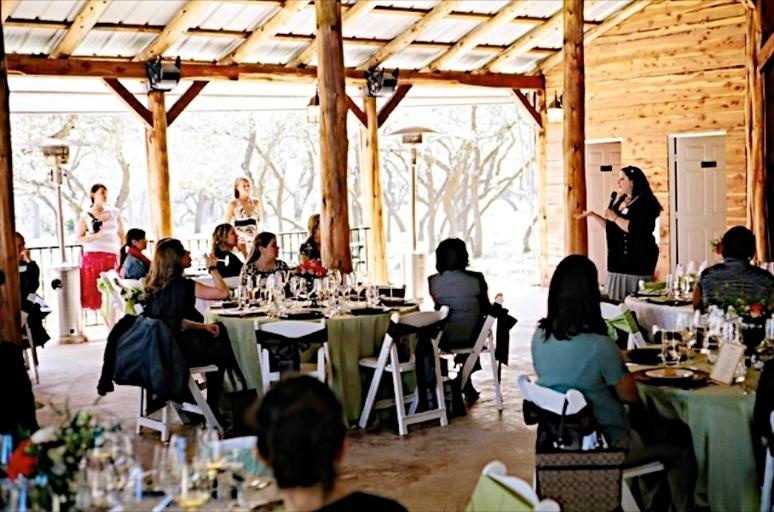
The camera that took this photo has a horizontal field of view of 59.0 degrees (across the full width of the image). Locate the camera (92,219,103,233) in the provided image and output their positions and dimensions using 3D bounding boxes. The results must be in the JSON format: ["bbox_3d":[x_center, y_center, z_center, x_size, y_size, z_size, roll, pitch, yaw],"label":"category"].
[{"bbox_3d":[-3.908,-0.415,9.162,0.114,0.164,0.057,1,9,-24],"label":"camera"}]

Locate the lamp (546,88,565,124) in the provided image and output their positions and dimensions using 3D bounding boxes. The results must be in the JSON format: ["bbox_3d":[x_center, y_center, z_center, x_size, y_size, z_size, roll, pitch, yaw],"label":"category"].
[{"bbox_3d":[3.013,-2.754,12.321,0.253,0.672,1.556,0,7,13],"label":"lamp"}]

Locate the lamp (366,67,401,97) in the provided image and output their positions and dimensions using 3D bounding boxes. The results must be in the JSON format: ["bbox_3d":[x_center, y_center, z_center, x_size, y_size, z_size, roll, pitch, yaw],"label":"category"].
[{"bbox_3d":[-0.090,-2.903,11.252,0.423,0.452,0.502,-1,16,-13],"label":"lamp"}]

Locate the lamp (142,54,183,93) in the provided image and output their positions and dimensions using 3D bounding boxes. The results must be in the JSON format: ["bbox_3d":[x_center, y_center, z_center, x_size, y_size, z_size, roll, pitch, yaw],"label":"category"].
[{"bbox_3d":[-3.215,-2.641,9.767,0.518,0.478,0.294,-1,7,0],"label":"lamp"}]
